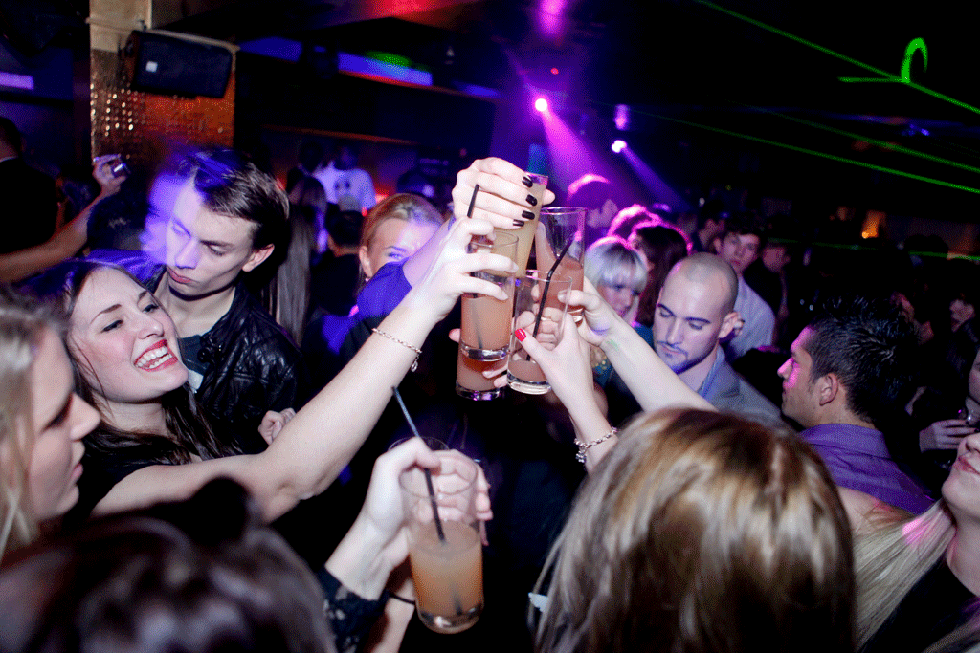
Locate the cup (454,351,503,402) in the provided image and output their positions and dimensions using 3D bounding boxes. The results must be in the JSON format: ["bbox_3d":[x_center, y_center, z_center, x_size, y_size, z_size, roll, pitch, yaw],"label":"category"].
[{"bbox_3d":[-0.086,0.215,3.189,0.225,0.241,0.218,3,7,0],"label":"cup"}]
